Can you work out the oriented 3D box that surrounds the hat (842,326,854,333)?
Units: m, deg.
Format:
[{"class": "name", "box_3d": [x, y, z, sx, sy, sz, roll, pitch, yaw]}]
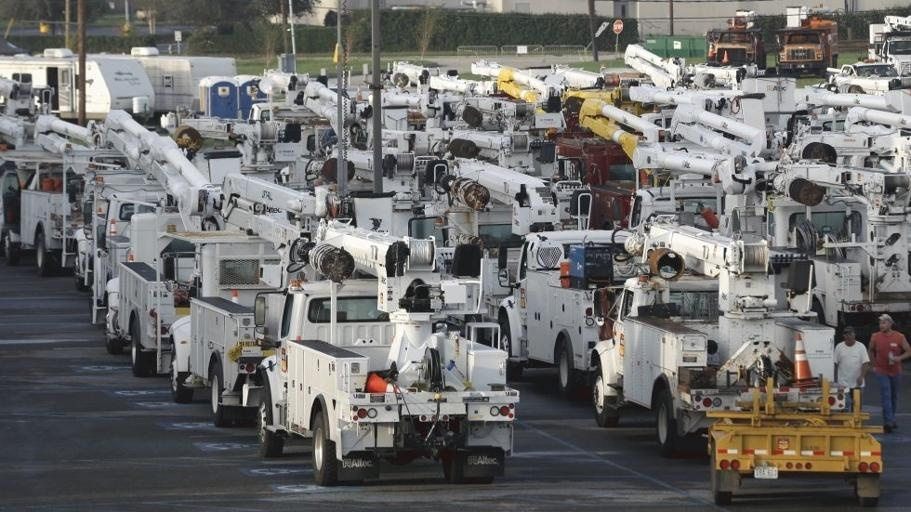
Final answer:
[{"class": "hat", "box_3d": [14.342, 2.898, 89.397, 0.362, 0.239, 0.522, 0, 5, 3]}]

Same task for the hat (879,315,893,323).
[{"class": "hat", "box_3d": [15.852, 2.513, 90.218, 0.428, 0.268, 0.581, 7, -5, 12]}]
